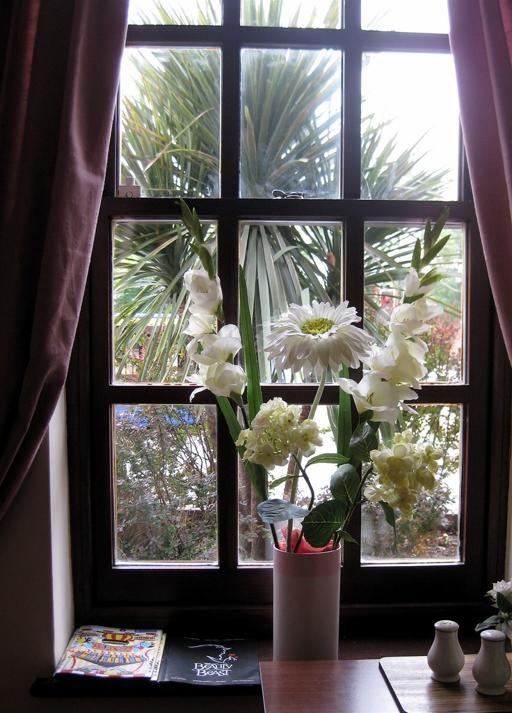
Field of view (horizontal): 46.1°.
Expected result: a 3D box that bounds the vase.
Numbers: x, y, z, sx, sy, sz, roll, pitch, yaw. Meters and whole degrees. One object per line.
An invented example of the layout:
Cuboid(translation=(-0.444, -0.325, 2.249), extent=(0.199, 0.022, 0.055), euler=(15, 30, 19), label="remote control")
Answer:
Cuboid(translation=(0.094, 0.440, 1.205), extent=(0.168, 0.298, 0.171), euler=(-1, 0, 8), label="vase")

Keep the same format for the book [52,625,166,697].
Cuboid(translation=(-0.289, 0.603, 1.233), extent=(0.199, 0.038, 0.190), euler=(-2, 1, -2), label="book")

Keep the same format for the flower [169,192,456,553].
Cuboid(translation=(0.127, 0.048, 1.152), extent=(0.467, 0.608, 0.419), euler=(-2, 0, 13), label="flower")

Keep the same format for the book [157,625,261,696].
Cuboid(translation=(-0.094, 0.622, 1.228), extent=(0.197, 0.026, 0.210), euler=(-2, 1, -3), label="book")
